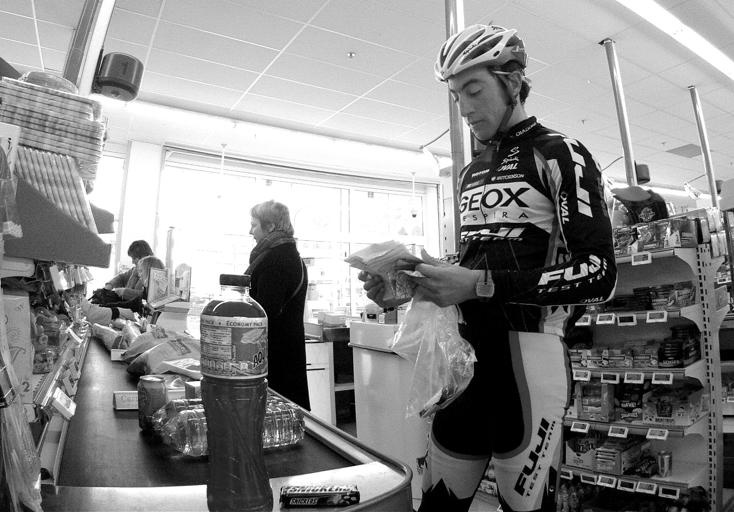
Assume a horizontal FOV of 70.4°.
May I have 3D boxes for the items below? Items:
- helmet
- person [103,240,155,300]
[{"bbox_3d":[0.398,-0.660,1.721,0.250,0.130,0.212,-10,7,-38],"label":"helmet"},{"bbox_3d":[-2.376,0.211,5.278,0.480,0.689,0.522,0,4,-38],"label":"person"}]
